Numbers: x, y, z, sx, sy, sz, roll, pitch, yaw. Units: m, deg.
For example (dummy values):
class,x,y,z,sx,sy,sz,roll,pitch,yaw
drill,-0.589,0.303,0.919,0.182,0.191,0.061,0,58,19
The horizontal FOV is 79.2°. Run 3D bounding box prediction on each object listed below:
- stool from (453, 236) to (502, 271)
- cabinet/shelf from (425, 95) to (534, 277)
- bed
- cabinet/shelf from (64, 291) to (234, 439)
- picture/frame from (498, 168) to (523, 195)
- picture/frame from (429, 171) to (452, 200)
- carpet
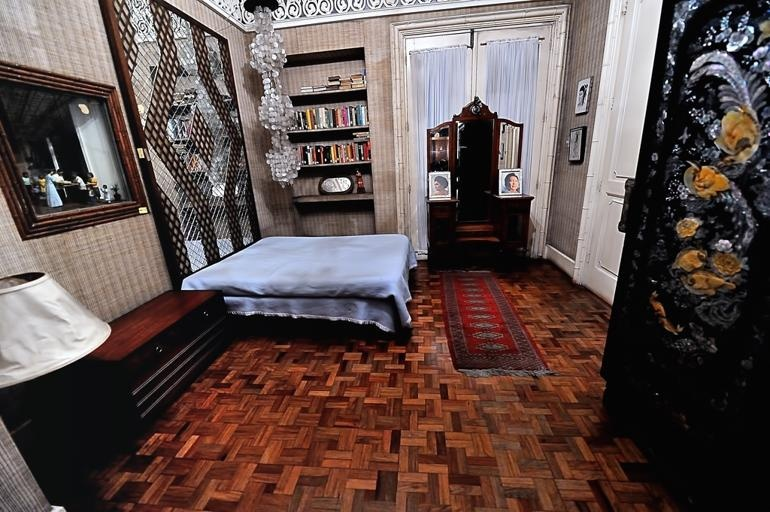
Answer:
class,x,y,z,sx,sy,sz,roll,pitch,yaw
stool,1.020,-0.024,5.180,0.640,0.360,0.323,1,7,19
cabinet/shelf,0.972,-0.764,5.007,1.083,1.782,0.542,-3,22,6
bed,-0.602,0.280,4.187,1.732,0.586,1.048,-1,19,8
cabinet/shelf,-1.890,0.831,3.635,0.828,0.670,1.494,-1,11,4
picture/frame,1.348,-0.794,5.008,0.359,0.350,0.028,0,3,4
picture/frame,0.608,-0.769,5.096,0.401,0.386,0.066,0,7,2
carpet,0.866,0.468,4.367,0.700,0.023,2.141,0,17,1
